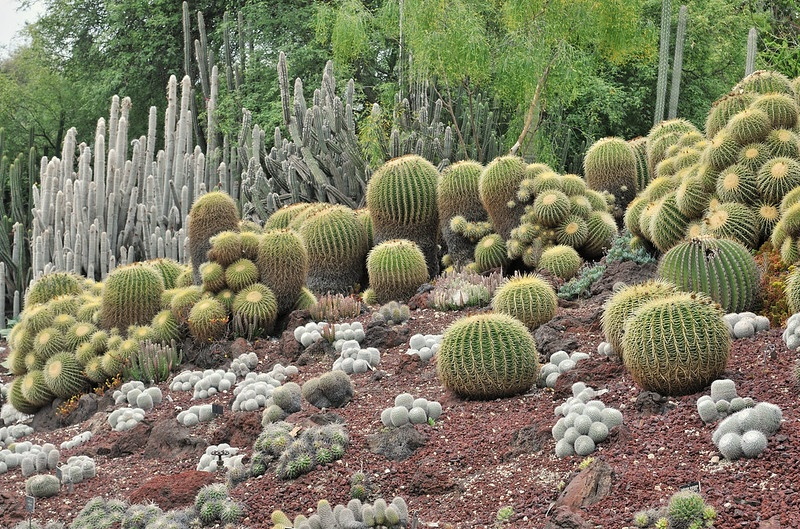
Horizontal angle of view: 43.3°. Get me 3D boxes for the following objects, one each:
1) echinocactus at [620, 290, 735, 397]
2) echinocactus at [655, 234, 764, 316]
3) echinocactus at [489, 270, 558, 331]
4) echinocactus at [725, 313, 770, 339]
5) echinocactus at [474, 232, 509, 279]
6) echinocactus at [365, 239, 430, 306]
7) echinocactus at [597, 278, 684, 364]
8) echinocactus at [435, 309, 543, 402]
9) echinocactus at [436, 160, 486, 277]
[{"bbox_3d":[2.859,0.830,10.613,0.993,1.062,1.032,-6,5,43],"label":"echinocactus"},{"bbox_3d":[3.566,0.163,11.479,0.878,0.958,0.923,-6,3,29],"label":"echinocactus"},{"bbox_3d":[1.482,0.426,12.355,0.634,0.631,0.642,-2,1,-20],"label":"echinocactus"},{"bbox_3d":[3.784,0.661,11.029,0.346,0.139,0.359,0,4,32],"label":"echinocactus"},{"bbox_3d":[1.294,-0.137,14.156,0.475,0.510,0.475,-10,11,15],"label":"echinocactus"},{"bbox_3d":[-0.031,0.098,13.880,0.784,0.852,0.826,-3,2,8],"label":"echinocactus"},{"bbox_3d":[2.649,0.611,11.268,0.798,0.855,0.810,-4,1,-18],"label":"echinocactus"},{"bbox_3d":[0.980,0.965,11.347,0.926,0.741,0.969,-6,-2,6],"label":"echinocactus"},{"bbox_3d":[0.899,-0.668,14.476,0.724,1.519,0.572,-2,16,7],"label":"echinocactus"}]
